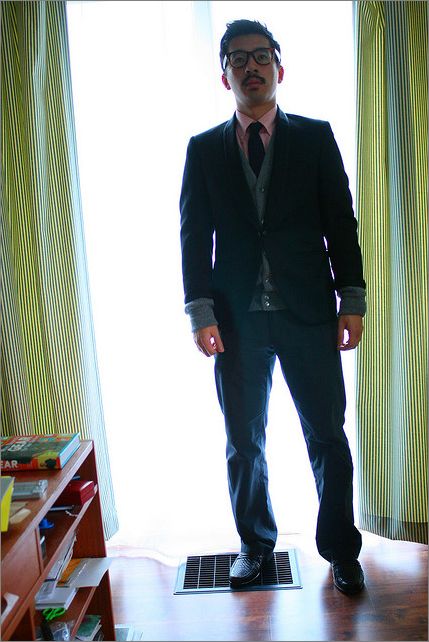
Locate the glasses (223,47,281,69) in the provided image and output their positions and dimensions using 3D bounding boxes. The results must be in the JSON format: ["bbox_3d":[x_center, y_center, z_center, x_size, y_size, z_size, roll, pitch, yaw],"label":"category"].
[{"bbox_3d":[0.095,-0.676,1.340,0.150,0.056,0.081,-4,4,5],"label":"glasses"}]

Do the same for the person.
[{"bbox_3d":[0.168,0.080,1.441,0.479,1.360,0.229,-4,4,-5],"label":"person"}]
